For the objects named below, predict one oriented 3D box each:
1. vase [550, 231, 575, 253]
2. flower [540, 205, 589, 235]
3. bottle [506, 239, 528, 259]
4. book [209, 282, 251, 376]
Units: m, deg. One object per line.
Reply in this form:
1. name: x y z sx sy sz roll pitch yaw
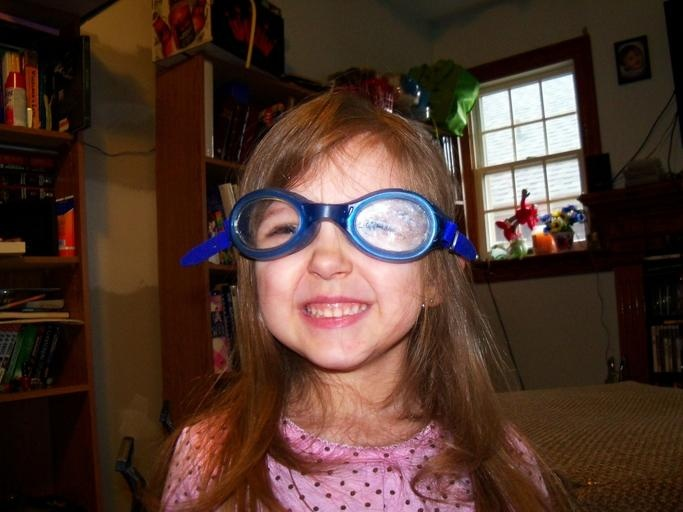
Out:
1. vase: 1.585 -0.103 4.197 0.126 0.114 0.137 -1 -5 2
2. flower: 1.607 -0.217 4.225 0.222 0.146 0.231 -20 -28 30
3. bottle: 1.300 -0.050 4.362 0.061 0.149 0.121 9 1 -41
4. book: -0.504 0.307 2.526 0.082 0.376 0.367 -2 2 -9
